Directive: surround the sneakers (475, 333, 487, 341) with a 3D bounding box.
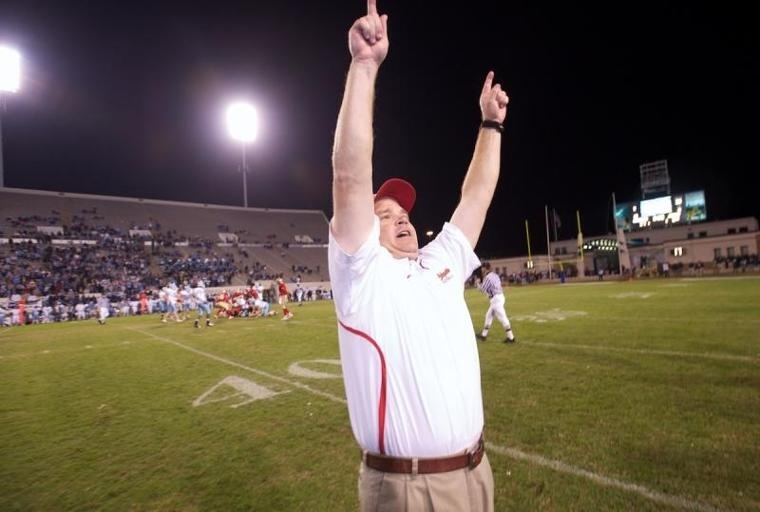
[{"bbox_3d":[2.956,2.350,12.350,0.155,0.205,0.466,-4,-23,-2],"label":"sneakers"}]

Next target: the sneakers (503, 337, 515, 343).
[{"bbox_3d":[3.538,2.281,11.531,0.325,0.234,0.144,10,-14,-25],"label":"sneakers"}]
